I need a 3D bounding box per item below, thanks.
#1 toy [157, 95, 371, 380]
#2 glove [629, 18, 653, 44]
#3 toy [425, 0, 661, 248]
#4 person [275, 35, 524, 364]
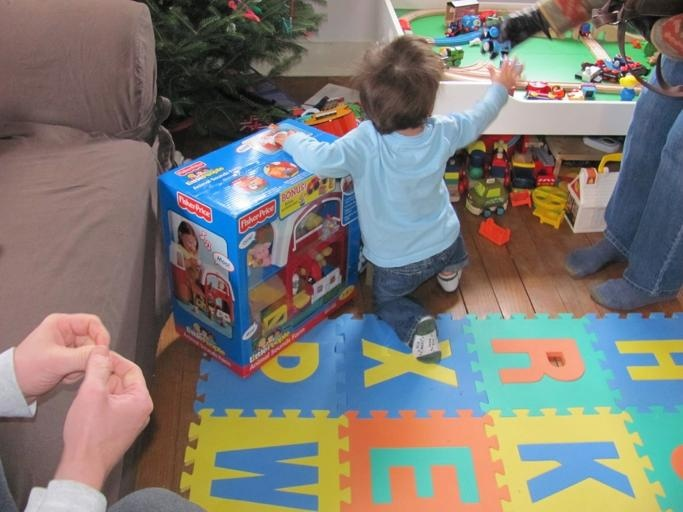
[{"bbox_3d":[-0.229,-0.013,1.720,0.362,0.663,0.679,27,48,28],"label":"toy"},{"bbox_3d":[0.870,-0.662,1.604,0.058,0.065,0.049,-3,21,47],"label":"glove"},{"bbox_3d":[0.693,-0.565,2.182,0.770,0.200,0.906,-3,70,-1],"label":"toy"},{"bbox_3d":[0.180,-0.248,1.901,0.691,1.009,0.897,20,52,29],"label":"person"}]
